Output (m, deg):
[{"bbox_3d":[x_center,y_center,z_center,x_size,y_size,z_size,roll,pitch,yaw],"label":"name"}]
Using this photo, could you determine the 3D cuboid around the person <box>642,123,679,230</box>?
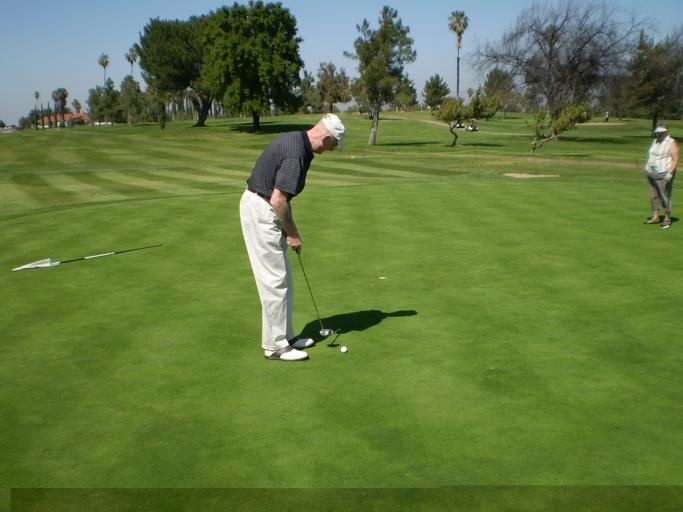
[{"bbox_3d":[6.720,-1.704,11.736,0.567,1.997,1.118,7,17,25],"label":"person"}]

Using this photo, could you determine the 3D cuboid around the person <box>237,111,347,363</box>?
[{"bbox_3d":[-0.556,-0.182,5.859,0.949,2.508,0.629,-4,16,-10],"label":"person"}]

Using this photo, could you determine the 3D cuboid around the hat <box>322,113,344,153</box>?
[{"bbox_3d":[-0.092,-1.324,5.694,0.219,0.140,0.284,24,-11,-7],"label":"hat"}]

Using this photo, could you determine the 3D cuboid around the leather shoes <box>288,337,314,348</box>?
[{"bbox_3d":[-0.436,0.955,6.244,0.214,0.080,0.116,-1,6,8],"label":"leather shoes"}]

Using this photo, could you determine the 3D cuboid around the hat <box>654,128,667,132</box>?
[{"bbox_3d":[6.690,-2.644,11.714,0.223,0.143,0.233,8,18,28],"label":"hat"}]

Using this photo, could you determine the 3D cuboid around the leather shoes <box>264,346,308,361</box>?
[{"bbox_3d":[-0.584,1.036,5.953,0.372,0.115,0.182,1,5,5],"label":"leather shoes"}]

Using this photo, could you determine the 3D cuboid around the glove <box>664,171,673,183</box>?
[{"bbox_3d":[6.870,-1.649,11.733,0.126,0.207,0.058,16,46,20],"label":"glove"}]
